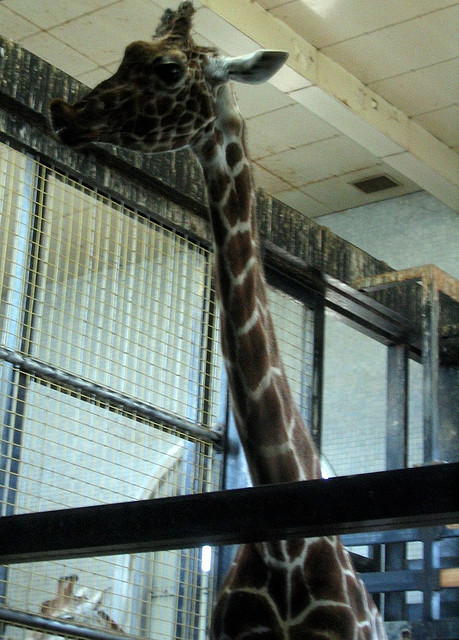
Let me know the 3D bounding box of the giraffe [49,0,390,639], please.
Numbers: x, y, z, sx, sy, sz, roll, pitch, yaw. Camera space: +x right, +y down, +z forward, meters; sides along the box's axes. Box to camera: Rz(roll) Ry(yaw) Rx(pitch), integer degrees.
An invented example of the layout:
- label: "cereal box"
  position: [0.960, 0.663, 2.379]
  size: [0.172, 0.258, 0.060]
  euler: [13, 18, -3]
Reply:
- label: "giraffe"
  position: [-0.014, 0.022, 2.376]
  size: [0.440, 1.149, 0.341]
  euler: [-13, 4, -6]
